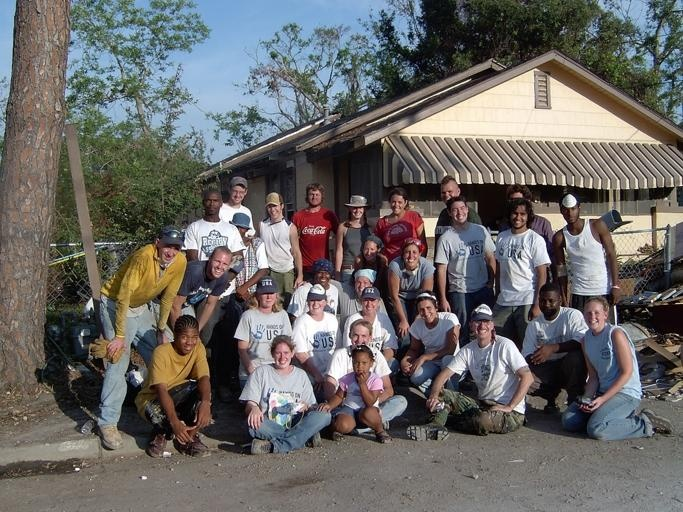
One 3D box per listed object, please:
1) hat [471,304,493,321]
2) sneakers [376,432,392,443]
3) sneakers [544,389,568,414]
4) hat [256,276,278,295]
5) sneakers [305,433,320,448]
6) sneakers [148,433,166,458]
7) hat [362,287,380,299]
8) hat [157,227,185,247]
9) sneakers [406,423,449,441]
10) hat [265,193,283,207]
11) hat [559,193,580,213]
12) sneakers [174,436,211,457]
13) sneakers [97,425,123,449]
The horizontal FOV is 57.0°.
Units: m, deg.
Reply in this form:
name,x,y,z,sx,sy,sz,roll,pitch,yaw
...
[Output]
name,x,y,z,sx,sy,sz,roll,pitch,yaw
hat,1.691,0.682,7.558,0.231,0.176,0.234,0,7,3
sneakers,0.477,2.061,7.138,0.177,0.104,0.142,0,7,6
sneakers,2.782,1.912,8.183,0.080,0.263,0.241,27,16,26
hat,-0.931,0.365,7.827,0.233,0.190,0.399,3,1,0
sneakers,-0.309,2.090,7.104,0.150,0.176,0.125,-9,-14,41
sneakers,-2.044,2.090,6.948,0.212,0.232,0.243,-3,7,-20
hat,0.383,0.466,8.128,0.178,0.147,0.307,3,-1,9
hat,-1.883,-0.219,6.915,0.274,0.234,0.279,-3,7,-17
sneakers,0.962,1.999,7.220,0.513,0.195,0.252,1,6,-2
hat,-1.032,-0.889,9.592,0.190,0.179,0.309,-1,-7,6
hat,3.069,-0.728,8.482,0.207,0.187,0.218,4,8,37
sneakers,-1.660,2.091,6.962,0.419,0.216,0.170,4,-6,22
sneakers,-2.577,2.028,6.993,0.141,0.164,0.371,0,7,-43
